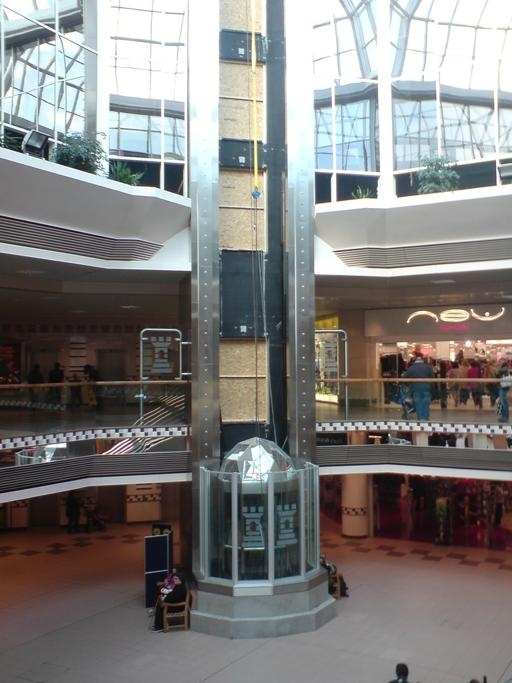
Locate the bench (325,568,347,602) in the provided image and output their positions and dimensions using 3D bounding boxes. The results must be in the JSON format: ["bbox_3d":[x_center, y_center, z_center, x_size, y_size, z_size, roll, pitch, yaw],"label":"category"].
[{"bbox_3d":[1.627,4.867,12.590,0.282,0.577,0.777,-4,-5,30],"label":"bench"}]

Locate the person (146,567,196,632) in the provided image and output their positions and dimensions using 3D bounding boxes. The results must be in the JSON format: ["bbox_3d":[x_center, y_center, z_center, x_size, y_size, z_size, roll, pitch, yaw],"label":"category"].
[{"bbox_3d":[-1.534,4.617,11.543,0.709,1.296,0.989,7,-13,-6],"label":"person"}]

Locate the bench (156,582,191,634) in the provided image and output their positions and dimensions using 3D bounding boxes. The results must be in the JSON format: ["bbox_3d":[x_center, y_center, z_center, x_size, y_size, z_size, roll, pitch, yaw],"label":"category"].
[{"bbox_3d":[-1.457,4.714,11.181,0.624,0.980,0.689,4,-15,-11],"label":"bench"}]

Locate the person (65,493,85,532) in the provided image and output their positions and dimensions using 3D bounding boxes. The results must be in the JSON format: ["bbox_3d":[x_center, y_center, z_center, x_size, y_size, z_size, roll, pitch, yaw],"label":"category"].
[{"bbox_3d":[-5.670,5.247,19.548,0.464,1.102,0.632,1,-5,-18],"label":"person"}]
